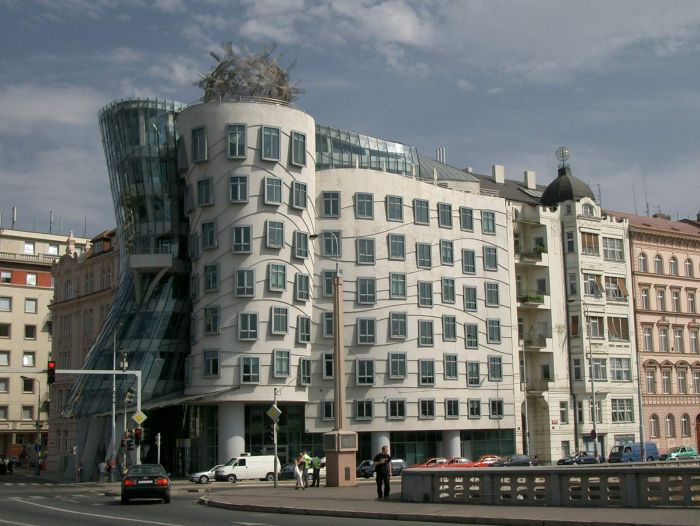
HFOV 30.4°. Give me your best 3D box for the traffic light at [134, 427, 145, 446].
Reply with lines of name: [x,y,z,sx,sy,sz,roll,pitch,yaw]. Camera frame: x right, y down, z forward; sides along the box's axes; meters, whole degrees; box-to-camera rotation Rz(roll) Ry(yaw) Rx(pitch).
traffic light: [-15.573,12.738,94.462,0.582,1.153,1.147,-2,1,-4]

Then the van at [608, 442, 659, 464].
van: [25.287,16.811,114.573,4.207,1.650,2.075,8,-18,-24]
